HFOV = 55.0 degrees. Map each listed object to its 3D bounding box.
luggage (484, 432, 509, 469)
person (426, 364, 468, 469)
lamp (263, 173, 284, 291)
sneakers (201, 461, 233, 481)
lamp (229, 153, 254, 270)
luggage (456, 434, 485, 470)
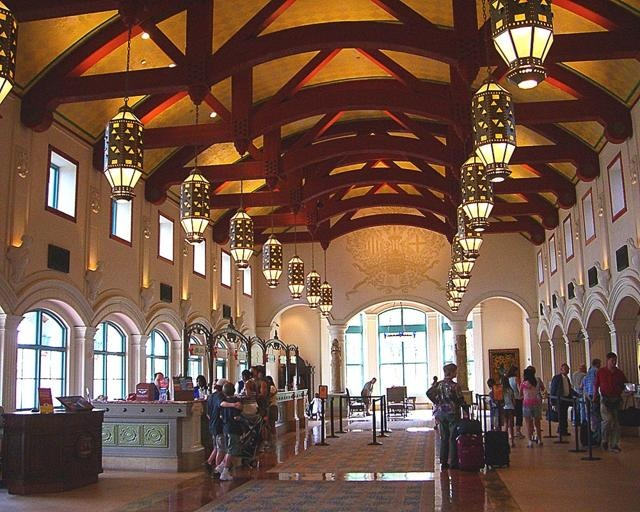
[{"bbox_3d":[2.946,3.203,10.102,0.425,0.639,0.352,-7,-38,15],"label":"luggage"},{"bbox_3d":[2.107,2.608,10.108,0.596,1.648,0.870,-4,-15,12],"label":"person"},{"bbox_3d":[-0.960,0.003,12.529,0.347,1.264,1.183,0,-15,-7],"label":"lamp"},{"bbox_3d":[-1.604,3.451,9.974,0.608,0.293,0.221,3,-14,17],"label":"sneakers"},{"bbox_3d":[-1.353,-0.373,10.690,0.382,1.127,0.429,2,-15,-14],"label":"lamp"},{"bbox_3d":[2.479,3.218,10.018,0.429,0.654,0.368,-4,-37,14],"label":"luggage"}]
